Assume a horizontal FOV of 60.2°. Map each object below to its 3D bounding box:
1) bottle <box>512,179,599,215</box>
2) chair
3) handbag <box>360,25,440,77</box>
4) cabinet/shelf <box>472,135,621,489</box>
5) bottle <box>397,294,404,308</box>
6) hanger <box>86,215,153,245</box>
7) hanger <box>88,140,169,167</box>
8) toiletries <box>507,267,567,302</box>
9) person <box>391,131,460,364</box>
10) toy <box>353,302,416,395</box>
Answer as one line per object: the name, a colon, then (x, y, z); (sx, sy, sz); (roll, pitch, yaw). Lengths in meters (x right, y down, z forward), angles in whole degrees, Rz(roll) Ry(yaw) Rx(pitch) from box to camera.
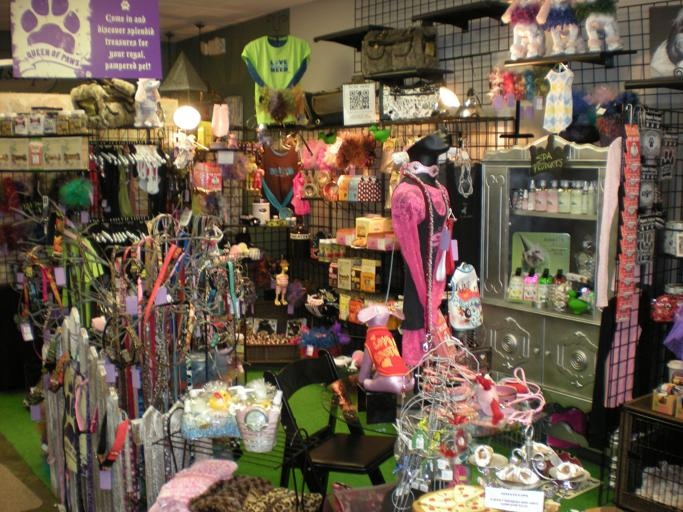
bottle: (1.665, -0.468, 4.648); (0.161, 0.273, 0.736); (-4, 8, -31)
chair: (-0.015, 1.204, 3.674); (0.675, 1.098, 0.668); (-3, -1, 34)
handbag: (0.565, -1.952, 5.610); (0.460, 0.321, 0.198); (2, 1, 40)
cabinet/shelf: (1.784, 0.288, 4.831); (0.533, 2.394, 1.094); (-10, 12, -37)
bottle: (0.581, 0.448, 5.838); (0.076, 0.124, 0.043); (-3, 1, 6)
hanger: (-2.271, -0.250, 5.990); (0.612, 0.296, 0.495); (-1, 11, 19)
hanger: (-2.250, -1.075, 6.266); (0.758, 0.247, 0.313); (-2, 7, -12)
toiletries: (1.564, 0.260, 4.823); (0.283, 0.217, 0.294); (0, -1, 36)
person: (0.647, -0.056, 4.719); (0.494, 1.861, 0.412); (0, 6, 5)
toy: (0.346, 0.615, 4.223); (0.362, 0.650, 0.516); (-7, 15, -36)
